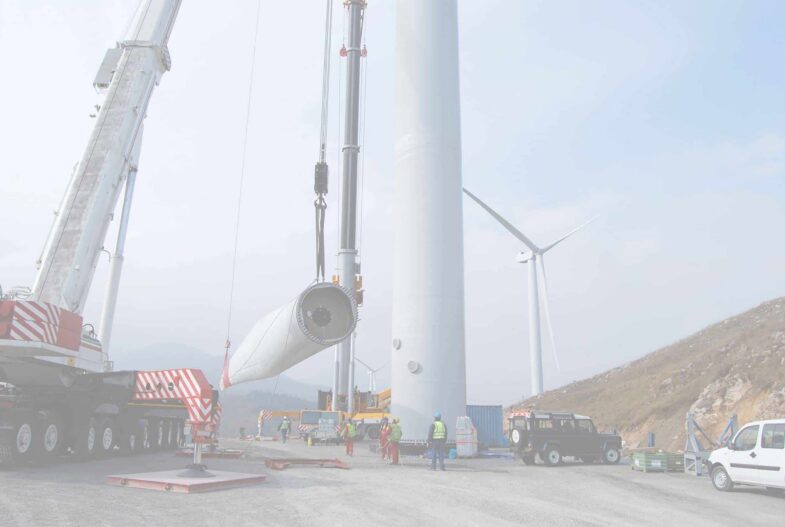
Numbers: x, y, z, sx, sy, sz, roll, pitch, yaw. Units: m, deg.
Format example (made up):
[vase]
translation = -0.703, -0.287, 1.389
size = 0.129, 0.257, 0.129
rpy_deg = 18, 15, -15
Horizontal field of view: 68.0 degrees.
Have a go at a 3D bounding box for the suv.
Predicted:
[suv]
translation = 7.774, 7.859, 26.307
size = 5.130, 2.253, 1.567
rpy_deg = 7, -20, -23
